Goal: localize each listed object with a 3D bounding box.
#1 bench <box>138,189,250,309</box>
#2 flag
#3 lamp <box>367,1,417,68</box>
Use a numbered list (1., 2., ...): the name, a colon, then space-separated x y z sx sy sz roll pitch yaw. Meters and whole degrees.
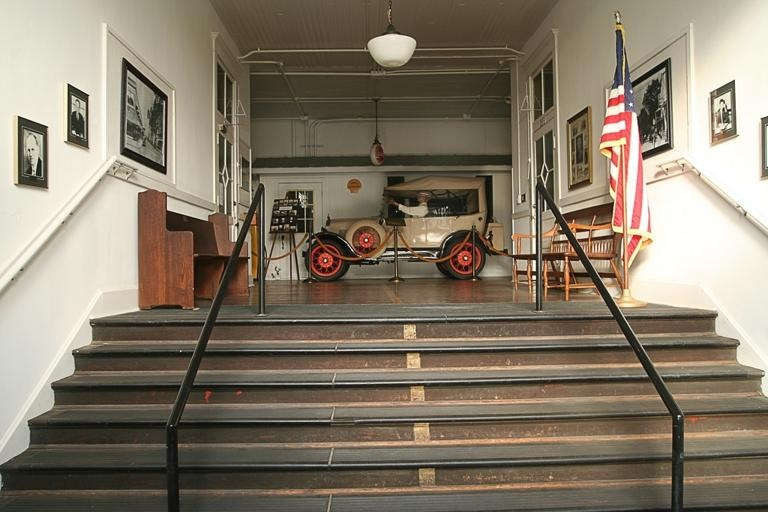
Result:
1. bench: -2.014 -0.047 5.949 0.411 0.877 1.276 -1 1 3
2. flag: 2.419 -1.113 5.680 0.398 2.315 0.493 -4 7 -30
3. lamp: 0.085 -2.226 6.053 0.470 0.376 0.259 -1 7 -2
